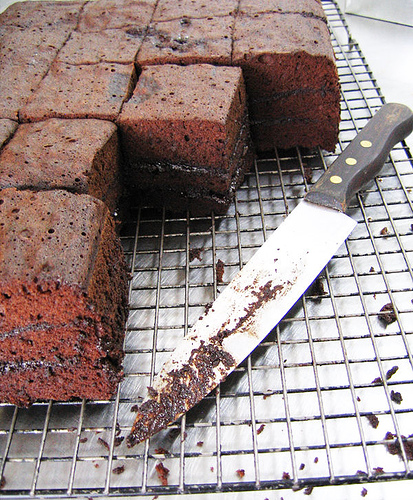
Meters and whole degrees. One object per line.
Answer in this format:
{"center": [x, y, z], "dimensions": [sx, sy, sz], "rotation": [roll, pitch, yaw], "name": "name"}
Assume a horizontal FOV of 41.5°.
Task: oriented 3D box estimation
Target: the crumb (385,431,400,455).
{"center": [0.441, 0.461, 1.309], "dimensions": [0.030, 0.021, 0.056], "rotation": [1, 53, -5], "name": "crumb"}

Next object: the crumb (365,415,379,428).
{"center": [0.410, 0.422, 1.346], "dimensions": [0.027, 0.008, 0.031], "rotation": [-5, 58, -7], "name": "crumb"}

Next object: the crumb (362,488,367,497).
{"center": [0.362, 0.562, 1.262], "dimensions": [0.013, 0.003, 0.011], "rotation": [3, 42, 5], "name": "crumb"}

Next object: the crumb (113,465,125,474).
{"center": [-0.208, 0.525, 1.300], "dimensions": [0.026, 0.004, 0.018], "rotation": [-3, 53, -8], "name": "crumb"}

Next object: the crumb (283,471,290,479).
{"center": [0.184, 0.523, 1.264], "dimensions": [0.014, 0.006, 0.016], "rotation": [4, 53, -3], "name": "crumb"}

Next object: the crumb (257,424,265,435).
{"center": [0.133, 0.442, 1.342], "dimensions": [0.010, 0.007, 0.026], "rotation": [24, 47, 22], "name": "crumb"}

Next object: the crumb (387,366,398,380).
{"center": [0.478, 0.321, 1.418], "dimensions": [0.049, 0.013, 0.012], "rotation": [-26, 82, -35], "name": "crumb"}

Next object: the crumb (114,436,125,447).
{"center": [-0.210, 0.466, 1.328], "dimensions": [0.023, 0.007, 0.026], "rotation": [0, 53, -6], "name": "crumb"}

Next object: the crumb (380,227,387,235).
{"center": [0.555, -0.060, 1.717], "dimensions": [0.008, 0.018, 0.022], "rotation": [0, 12, 38], "name": "crumb"}

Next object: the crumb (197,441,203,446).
{"center": [-0.016, 0.472, 1.327], "dimensions": [0.013, 0.002, 0.011], "rotation": [6, 52, -1], "name": "crumb"}

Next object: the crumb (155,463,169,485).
{"center": [-0.101, 0.532, 1.294], "dimensions": [0.026, 0.007, 0.053], "rotation": [-14, 55, -16], "name": "crumb"}

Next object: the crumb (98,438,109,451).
{"center": [-0.250, 0.479, 1.343], "dimensions": [0.039, 0.009, 0.010], "rotation": [32, 73, 35], "name": "crumb"}

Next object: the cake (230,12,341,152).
{"center": [0.332, -0.578, 2.061], "dimensions": [0.342, 0.276, 0.424], "rotation": [-2, 25, 9], "name": "cake"}

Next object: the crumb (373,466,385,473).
{"center": [0.399, 0.515, 1.275], "dimensions": [0.022, 0.004, 0.019], "rotation": [3, 22, 5], "name": "crumb"}

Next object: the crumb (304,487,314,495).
{"center": [0.238, 0.561, 1.266], "dimensions": [0.020, 0.009, 0.014], "rotation": [1, 54, -5], "name": "crumb"}

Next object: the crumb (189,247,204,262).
{"center": [-0.029, 0.015, 1.708], "dimensions": [0.042, 0.011, 0.037], "rotation": [-5, 59, -29], "name": "crumb"}

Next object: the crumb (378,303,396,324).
{"center": [0.504, 0.178, 1.527], "dimensions": [0.052, 0.012, 0.054], "rotation": [-40, 42, -21], "name": "crumb"}

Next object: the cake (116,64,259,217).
{"center": [-0.019, -0.392, 1.924], "dimensions": [0.526, 0.423, 0.479], "rotation": [1, 35, 5], "name": "cake"}

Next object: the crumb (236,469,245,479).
{"center": [0.081, 0.521, 1.273], "dimensions": [0.014, 0.005, 0.012], "rotation": [-7, 50, -2], "name": "crumb"}

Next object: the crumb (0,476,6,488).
{"center": [-0.477, 0.551, 1.288], "dimensions": [0.006, 0.007, 0.022], "rotation": [-8, 26, -24], "name": "crumb"}
